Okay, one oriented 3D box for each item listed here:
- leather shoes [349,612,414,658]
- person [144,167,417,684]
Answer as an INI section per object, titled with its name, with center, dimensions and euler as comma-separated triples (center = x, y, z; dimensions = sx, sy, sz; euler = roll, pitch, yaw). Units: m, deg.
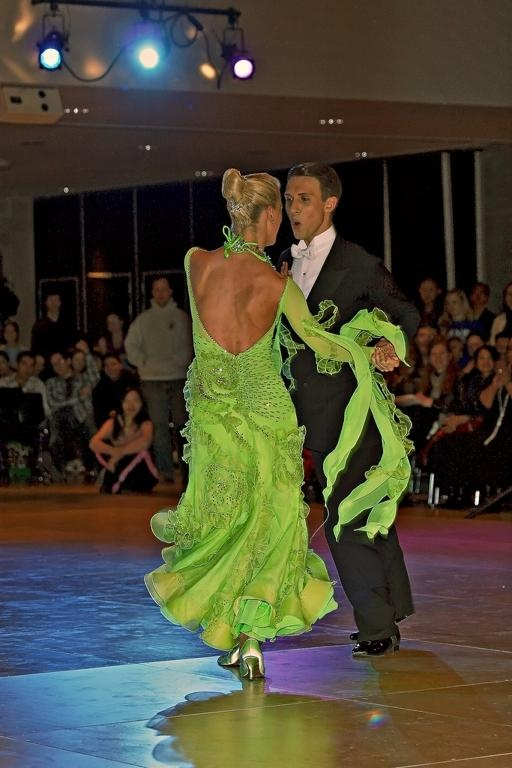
[leather shoes]
center = 0.450, 0.951, 2.511
dimensions = 0.096, 0.086, 0.238
euler = -9, -15, 36
[person]
center = 0.065, 0.121, 2.303
dimensions = 0.904, 1.653, 0.510
euler = -2, 0, -9
